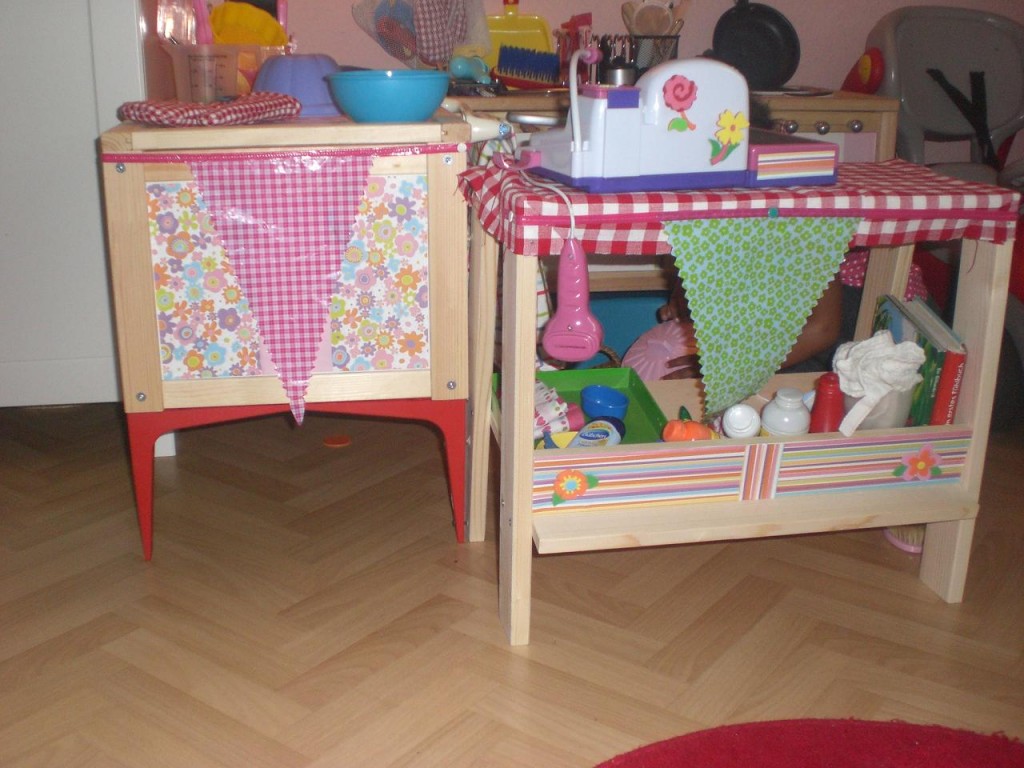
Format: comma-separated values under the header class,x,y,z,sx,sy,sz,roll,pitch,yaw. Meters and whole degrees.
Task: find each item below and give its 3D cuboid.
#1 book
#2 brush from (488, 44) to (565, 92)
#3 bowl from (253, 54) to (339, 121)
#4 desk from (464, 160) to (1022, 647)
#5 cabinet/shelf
class,x,y,z,sx,sy,sz,roll,pitch,yaw
book,0.853,-0.046,1.867,0.098,0.216,0.237,-10,35,1
brush,0.045,-0.982,2.790,0.270,0.154,0.080,3,0,-8
bowl,-0.462,-0.652,1.947,0.173,0.094,0.172,5,27,-3
desk,0.311,0.115,2.085,1.406,1.008,0.913,-4,29,-6
cabinet/shelf,-0.432,-0.166,2.090,0.979,1.089,0.686,-2,27,-7
